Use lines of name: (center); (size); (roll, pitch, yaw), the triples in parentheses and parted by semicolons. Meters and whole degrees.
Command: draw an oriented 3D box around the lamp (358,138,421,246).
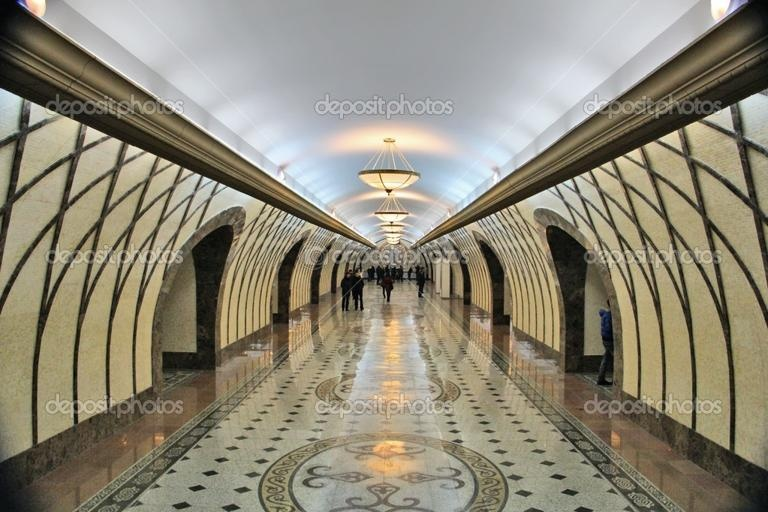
lamp: (0.401, -1.990, 11.164); (1.517, 2.156, 1.534); (-1, 5, -3)
